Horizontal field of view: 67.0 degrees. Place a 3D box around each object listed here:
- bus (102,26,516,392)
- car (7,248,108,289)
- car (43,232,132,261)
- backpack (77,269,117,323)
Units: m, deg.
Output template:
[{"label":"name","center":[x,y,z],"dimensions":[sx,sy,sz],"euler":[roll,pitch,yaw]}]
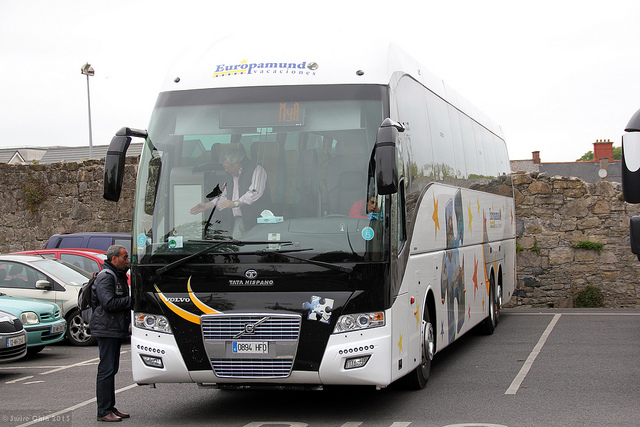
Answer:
[{"label":"bus","center":[0.554,0.139,7.036],"dimensions":[6.221,5.379,2.701],"euler":[-1,1,-44]},{"label":"car","center":[-6.472,1.377,11.832],"dimensions":[2.306,1.069,1.313],"euler":[-1,1,12]},{"label":"car","center":[-7.734,1.226,15.726],"dimensions":[2.534,0.959,0.807],"euler":[-2,-8,10]},{"label":"backpack","center":[-2.904,1.084,6.367],"dimensions":[0.580,0.570,0.385],"euler":[8,20,3]}]
